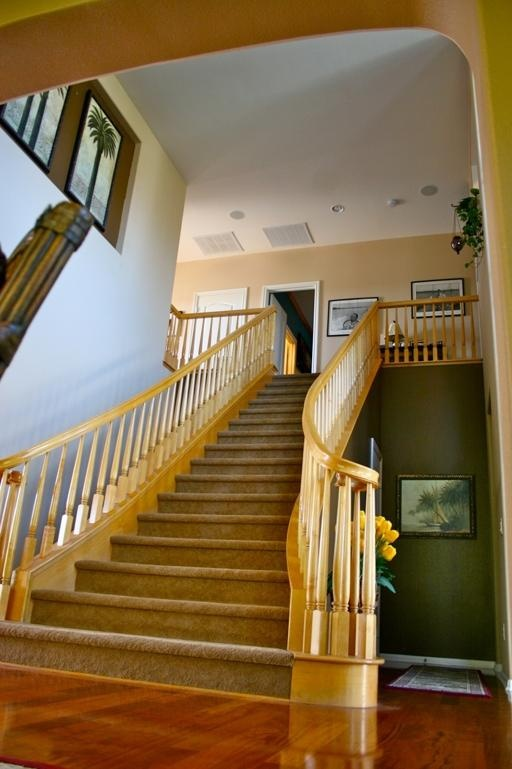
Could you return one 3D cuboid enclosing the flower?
[{"bbox_3d":[0.753,1.046,3.040,0.288,0.421,0.367,20,-11,2],"label":"flower"}]
